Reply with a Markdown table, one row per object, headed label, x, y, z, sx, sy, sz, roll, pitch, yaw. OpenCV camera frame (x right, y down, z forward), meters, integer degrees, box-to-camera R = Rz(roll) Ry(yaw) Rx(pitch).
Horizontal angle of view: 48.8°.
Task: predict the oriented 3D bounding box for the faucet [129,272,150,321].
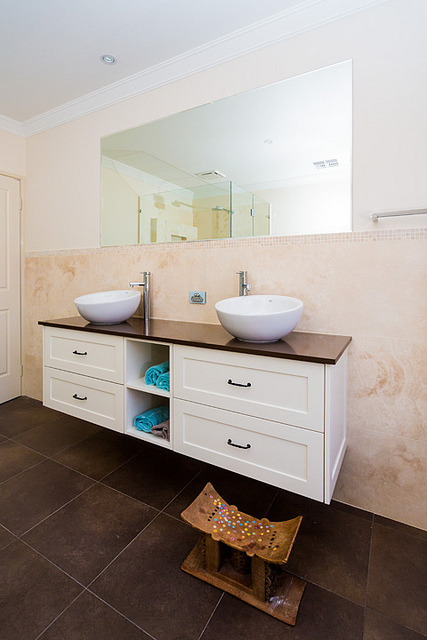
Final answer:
| label | x | y | z | sx | sy | sz | roll | pitch | yaw |
| --- | --- | --- | --- | --- | --- | --- | --- | --- | --- |
| faucet | -0.416 | -0.137 | 2.661 | 0.126 | 0.292 | 0.039 | -7 | 27 | -21 |

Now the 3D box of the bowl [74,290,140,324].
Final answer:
| label | x | y | z | sx | sy | sz | roll | pitch | yaw |
| --- | --- | --- | --- | --- | --- | --- | --- | --- | --- |
| bowl | -0.570 | -0.071 | 2.553 | 0.330 | 0.155 | 0.465 | -3 | 7 | -16 |

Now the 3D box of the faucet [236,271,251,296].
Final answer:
| label | x | y | z | sx | sy | sz | roll | pitch | yaw |
| --- | --- | --- | --- | --- | --- | --- | --- | --- | --- |
| faucet | 0.148 | -0.179 | 2.274 | 0.059 | 0.117 | 0.131 | 0 | 7 | 6 |

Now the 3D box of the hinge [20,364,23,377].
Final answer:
| label | x | y | z | sx | sy | sz | roll | pitch | yaw |
| --- | --- | --- | --- | --- | --- | --- | --- | --- | --- |
| hinge | -1.450 | 0.378 | 3.550 | 0.023 | 0.096 | 0.010 | -4 | 7 | -25 |

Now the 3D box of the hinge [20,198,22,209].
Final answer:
| label | x | y | z | sx | sy | sz | roll | pitch | yaw |
| --- | --- | --- | --- | --- | --- | --- | --- | --- | --- |
| hinge | -1.400 | -0.852 | 3.422 | 0.022 | 0.076 | 0.009 | 1 | 7 | 13 |

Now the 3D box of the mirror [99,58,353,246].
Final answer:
| label | x | y | z | sx | sy | sz | roll | pitch | yaw |
| --- | --- | --- | --- | --- | --- | --- | --- | --- | --- |
| mirror | 0.029 | -0.718 | 2.394 | 1.436 | 0.669 | 0.017 | -4 | 8 | 24 |

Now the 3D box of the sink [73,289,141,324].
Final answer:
| label | x | y | z | sx | sy | sz | roll | pitch | yaw |
| --- | --- | --- | --- | --- | --- | --- | --- | --- | --- |
| sink | -0.562 | -0.036 | 2.449 | 0.247 | 0.127 | 0.254 | 3 | 16 | 7 |

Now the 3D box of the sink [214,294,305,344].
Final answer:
| label | x | y | z | sx | sy | sz | roll | pitch | yaw |
| --- | --- | --- | --- | --- | --- | --- | --- | --- | --- |
| sink | 0.197 | -0.014 | 2.040 | 0.382 | 0.172 | 0.477 | 0 | 7 | 12 |

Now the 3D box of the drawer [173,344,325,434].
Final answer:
| label | x | y | z | sx | sy | sz | roll | pitch | yaw |
| --- | --- | --- | --- | --- | --- | --- | --- | --- | --- |
| drawer | 0.209 | 0.203 | 1.989 | 0.702 | 0.259 | 0.442 | 7 | 15 | 36 |

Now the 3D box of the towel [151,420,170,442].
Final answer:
| label | x | y | z | sx | sy | sz | roll | pitch | yaw |
| --- | --- | --- | --- | --- | --- | --- | --- | --- | --- |
| towel | -0.224 | 0.504 | 2.152 | 0.077 | 0.053 | 0.142 | -7 | 9 | -39 |
